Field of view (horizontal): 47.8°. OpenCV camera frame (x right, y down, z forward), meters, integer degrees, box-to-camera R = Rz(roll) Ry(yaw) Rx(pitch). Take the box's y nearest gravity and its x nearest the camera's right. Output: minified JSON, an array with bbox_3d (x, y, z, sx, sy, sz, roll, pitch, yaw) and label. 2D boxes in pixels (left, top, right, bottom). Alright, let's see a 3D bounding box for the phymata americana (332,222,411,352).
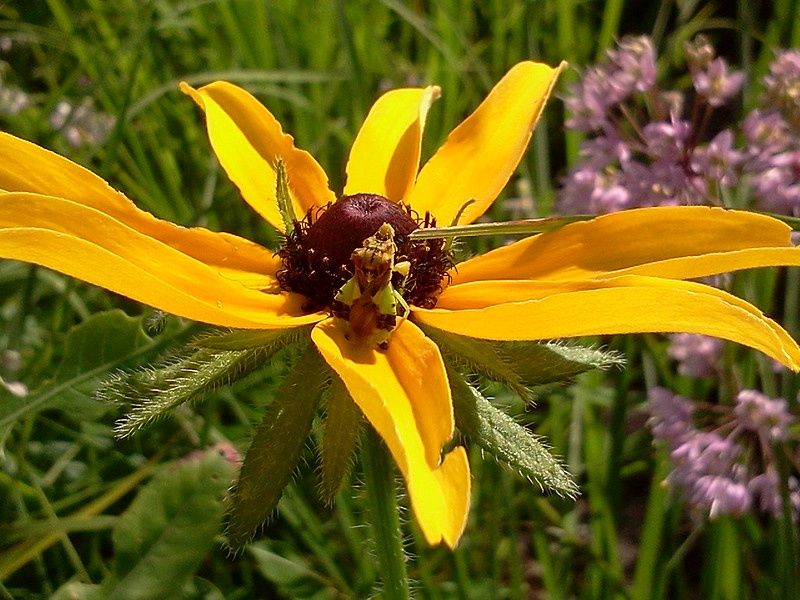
[{"bbox_3d":[-0.053,-0.021,1.736,0.142,0.070,0.226,9,91,22],"label":"phymata americana"}]
